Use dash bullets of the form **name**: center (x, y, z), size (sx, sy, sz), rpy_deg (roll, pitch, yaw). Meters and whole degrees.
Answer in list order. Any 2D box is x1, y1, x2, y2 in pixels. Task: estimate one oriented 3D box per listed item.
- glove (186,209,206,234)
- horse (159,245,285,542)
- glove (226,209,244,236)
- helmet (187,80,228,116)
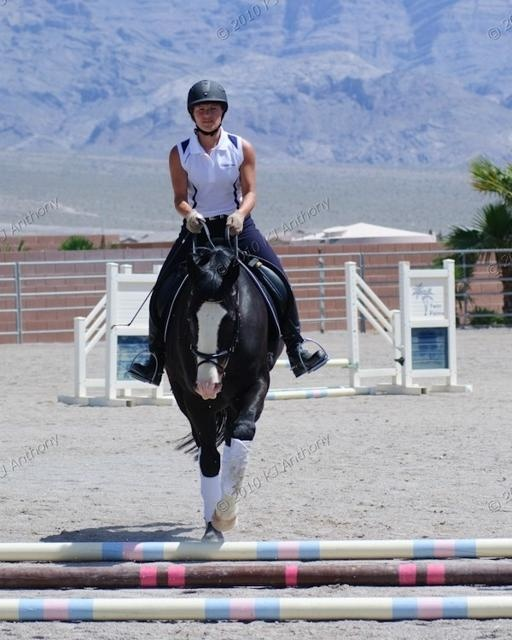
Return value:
- **glove**: center (-0.374, -0.579, 9.949), size (0.108, 0.140, 0.238), rpy_deg (-1, 1, -3)
- **horse**: center (-0.228, 0.423, 9.967), size (0.662, 1.753, 0.974), rpy_deg (-1, 1, 5)
- **glove**: center (-0.136, -0.580, 9.972), size (0.058, 0.135, 0.097), rpy_deg (17, -33, -27)
- **helmet**: center (-0.313, -1.361, 10.201), size (0.239, 0.203, 0.231), rpy_deg (-1, 1, -2)
